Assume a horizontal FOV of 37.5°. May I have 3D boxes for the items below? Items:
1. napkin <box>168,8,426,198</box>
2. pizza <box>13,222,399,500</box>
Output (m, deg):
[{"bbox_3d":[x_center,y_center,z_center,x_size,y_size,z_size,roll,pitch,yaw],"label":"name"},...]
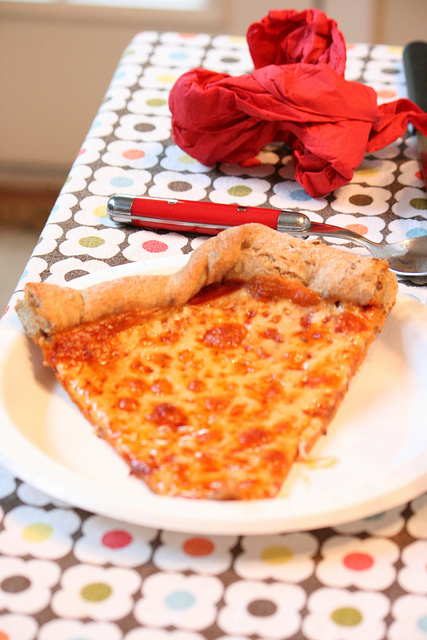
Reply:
[{"bbox_3d":[0.140,-0.318,0.896,0.316,0.179,0.304,15,40,20],"label":"napkin"},{"bbox_3d":[0.028,0.016,0.492,0.274,0.066,0.250,-22,41,-27],"label":"pizza"}]
